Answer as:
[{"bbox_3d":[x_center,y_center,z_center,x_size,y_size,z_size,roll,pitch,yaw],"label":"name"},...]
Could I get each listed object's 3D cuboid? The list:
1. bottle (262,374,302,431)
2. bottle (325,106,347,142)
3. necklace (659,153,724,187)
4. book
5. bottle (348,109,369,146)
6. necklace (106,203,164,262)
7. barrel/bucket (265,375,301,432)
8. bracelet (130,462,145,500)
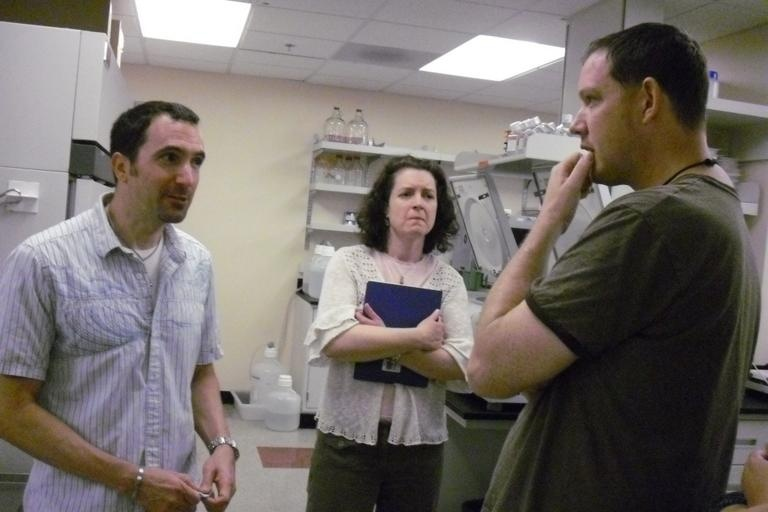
[{"bbox_3d":[-0.839,1.258,4.953,0.403,0.587,0.408,1,-5,0],"label":"bottle"},{"bbox_3d":[-0.459,-1.229,5.449,0.203,0.331,0.200,5,8,-1],"label":"bottle"},{"bbox_3d":[0.765,-0.229,1.438,0.114,0.027,0.089,-34,9,-25],"label":"necklace"},{"bbox_3d":[0.050,0.305,2.137,0.359,0.453,0.044,9,-27,3],"label":"book"},{"bbox_3d":[-0.240,-1.225,5.448,0.198,0.347,0.483,2,0,-3],"label":"bottle"},{"bbox_3d":[-0.736,-0.065,1.745,0.149,0.147,0.103,2,-10,-15],"label":"necklace"},{"bbox_3d":[-0.878,1.248,4.907,0.348,0.468,0.238,2,0,11],"label":"barrel/bucket"},{"bbox_3d":[-0.687,0.637,1.618,0.033,0.088,0.021,2,0,-44],"label":"bracelet"}]
